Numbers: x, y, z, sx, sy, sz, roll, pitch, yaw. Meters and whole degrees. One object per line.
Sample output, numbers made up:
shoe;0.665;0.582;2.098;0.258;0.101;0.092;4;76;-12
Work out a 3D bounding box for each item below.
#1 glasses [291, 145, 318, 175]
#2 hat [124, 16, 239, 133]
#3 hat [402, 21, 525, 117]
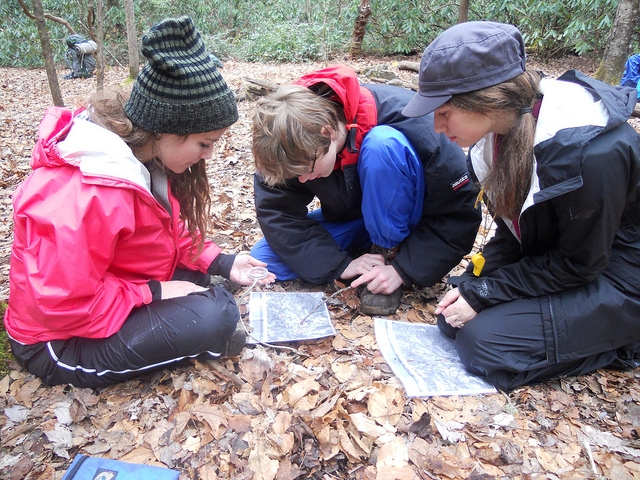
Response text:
glasses;-0.077;-0.416;2.558;0.036;0.121;0.118;20;-16;-15
hat;-0.608;-0.819;2.438;0.541;0.503;0.485;4;21;14
hat;0.688;-0.822;2.318;0.498;0.260;0.354;-17;24;13
